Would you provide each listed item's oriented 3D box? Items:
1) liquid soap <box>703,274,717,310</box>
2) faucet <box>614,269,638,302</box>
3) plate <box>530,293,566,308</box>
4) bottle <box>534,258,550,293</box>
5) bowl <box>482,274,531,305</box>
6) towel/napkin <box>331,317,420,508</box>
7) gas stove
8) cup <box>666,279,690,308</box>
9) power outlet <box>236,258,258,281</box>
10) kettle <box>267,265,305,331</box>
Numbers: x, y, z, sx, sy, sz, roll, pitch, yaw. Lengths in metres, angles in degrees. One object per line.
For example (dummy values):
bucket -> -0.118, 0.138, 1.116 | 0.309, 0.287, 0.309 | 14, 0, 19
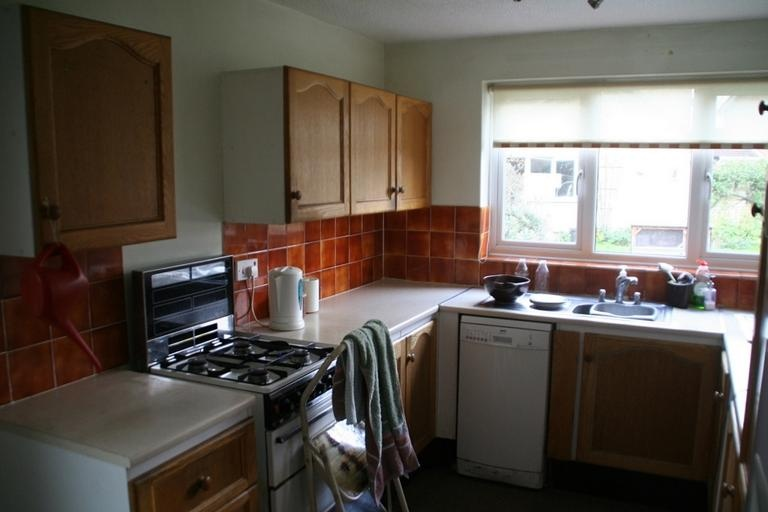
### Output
liquid soap -> 2.197, 0.245, 3.716 | 0.059, 0.224, 0.151 | 5, 9, 37
faucet -> 1.696, 0.204, 3.866 | 0.147, 0.221, 0.249 | 3, 8, 25
plate -> 1.153, 0.313, 3.876 | 0.247, 0.046, 0.344 | 2, 8, 15
bottle -> 1.178, 0.150, 4.106 | 0.113, 0.233, 0.113 | 0, 7, 0
bowl -> 0.849, 0.217, 3.846 | 0.224, 0.120, 0.230 | -1, 4, 0
towel/napkin -> -0.027, 0.741, 2.654 | 0.186, 0.829, 0.414 | 5, 9, 37
gas stove -> -0.746, 0.529, 2.880 | 0.756, 0.093, 0.719 | 7, -38, -37
cup -> 1.994, 0.262, 3.825 | 0.159, 0.202, 0.158 | 0, 10, 0
power outlet -> -0.814, 0.083, 3.281 | 0.101, 0.146, 0.204 | 3, 3, 27
kettle -> -0.567, 0.251, 3.246 | 0.233, 0.383, 0.339 | 0, 1, 11
